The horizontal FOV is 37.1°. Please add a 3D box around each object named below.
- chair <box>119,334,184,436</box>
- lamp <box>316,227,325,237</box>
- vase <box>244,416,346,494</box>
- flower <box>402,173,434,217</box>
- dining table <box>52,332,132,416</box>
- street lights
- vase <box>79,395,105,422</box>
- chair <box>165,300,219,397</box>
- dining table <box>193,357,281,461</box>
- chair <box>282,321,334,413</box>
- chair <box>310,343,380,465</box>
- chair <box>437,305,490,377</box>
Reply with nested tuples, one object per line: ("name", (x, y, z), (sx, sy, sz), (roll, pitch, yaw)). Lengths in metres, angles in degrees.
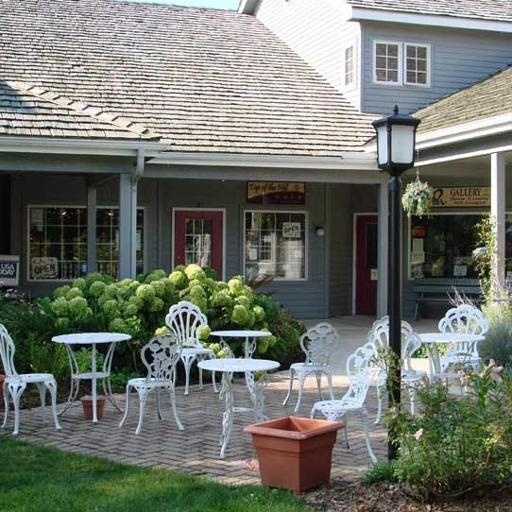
("chair", (-0.993, 1.183, 7.476), (0.373, 1.027, 0.428), (3, 2, -31))
("lamp", (1.258, -0.487, 14.802), (0.122, 0.175, 0.146), (0, 8, 5))
("vase", (0.290, 1.439, 5.594), (0.542, 0.458, 0.696), (-2, -4, 37))
("flower", (2.319, -0.878, 11.091), (0.307, 0.541, 0.361), (3, 10, 9))
("dining table", (-1.606, 1.219, 7.811), (0.551, 0.773, 0.605), (7, -13, -30))
("street lights", (1.019, -0.002, 5.713), (0.328, 2.187, 0.513), (-1, -3, 28))
("vase", (-1.617, 1.502, 7.606), (0.245, 0.208, 0.294), (1, -4, -21))
("chair", (-0.840, 1.056, 9.005), (0.408, 1.027, 0.457), (-4, 7, -20))
("dining table", (-0.106, 1.283, 6.943), (0.599, 0.841, 0.683), (1, 11, 35))
("chair", (0.589, 1.133, 8.130), (0.411, 0.975, 0.427), (-2, -10, 41))
("chair", (0.788, 1.266, 6.564), (0.494, 1.020, 0.418), (0, 2, -25))
("chair", (2.289, 0.933, 8.364), (0.431, 1.151, 0.430), (-2, -17, 22))
